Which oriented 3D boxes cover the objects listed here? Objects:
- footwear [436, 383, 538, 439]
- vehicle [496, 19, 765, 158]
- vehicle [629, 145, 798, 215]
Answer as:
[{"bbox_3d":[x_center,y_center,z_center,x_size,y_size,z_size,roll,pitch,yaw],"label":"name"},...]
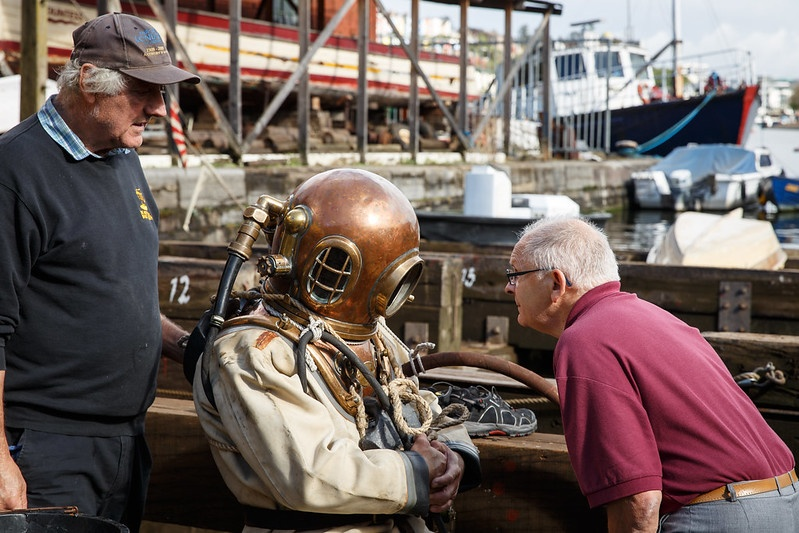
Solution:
[{"bbox_3d":[1.168,1.675,19.595,1.325,0.602,0.493,-2,21,39],"label":"footwear"},{"bbox_3d":[6.805,-5.254,48.099,2.643,3.772,10.523,-21,18,-35],"label":"vehicle"},{"bbox_3d":[7.639,-2.498,44.201,3.441,1.997,6.341,0,5,4],"label":"vehicle"}]
